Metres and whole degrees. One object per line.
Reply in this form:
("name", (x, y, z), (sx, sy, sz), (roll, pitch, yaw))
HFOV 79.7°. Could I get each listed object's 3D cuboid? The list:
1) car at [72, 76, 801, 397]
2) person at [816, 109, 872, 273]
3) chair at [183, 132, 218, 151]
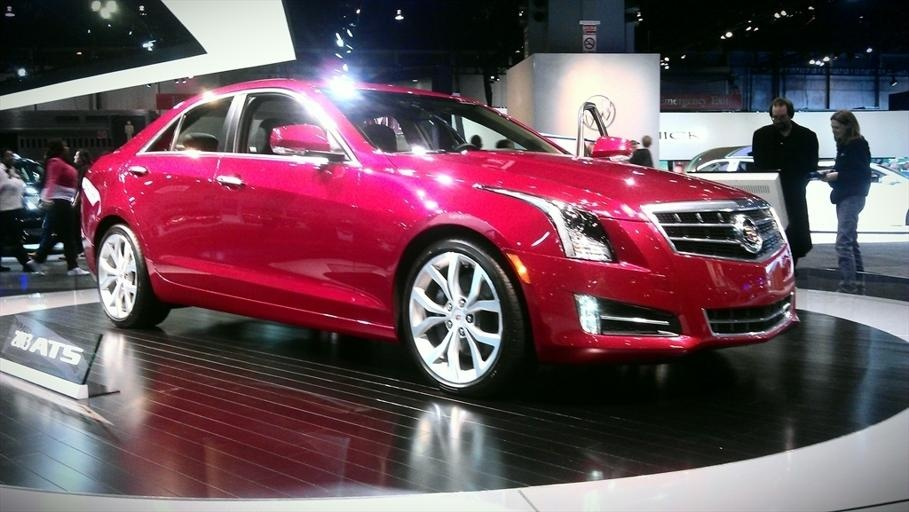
("car", (-0.559, -0.261, 4.064), (5.067, 1.515, 2.327), (1, 0, 34))
("person", (4.951, -0.806, 6.800), (0.495, 1.937, 0.527), (0, 11, 3))
("chair", (-2.021, -0.897, 4.351), (0.258, 0.113, 0.249), (3, 8, 22))
